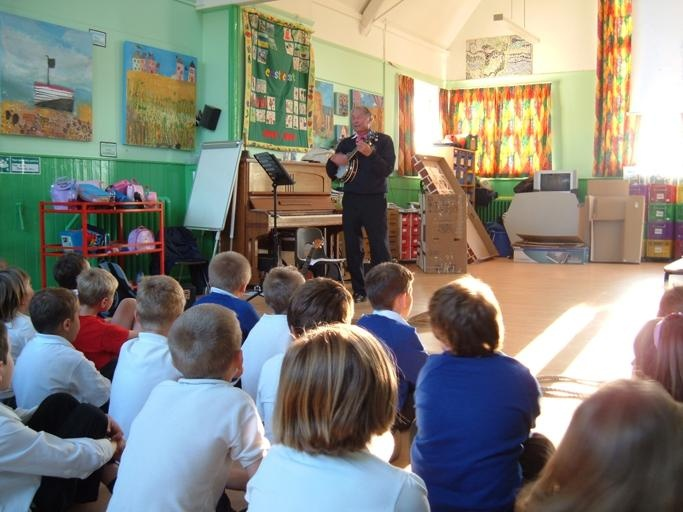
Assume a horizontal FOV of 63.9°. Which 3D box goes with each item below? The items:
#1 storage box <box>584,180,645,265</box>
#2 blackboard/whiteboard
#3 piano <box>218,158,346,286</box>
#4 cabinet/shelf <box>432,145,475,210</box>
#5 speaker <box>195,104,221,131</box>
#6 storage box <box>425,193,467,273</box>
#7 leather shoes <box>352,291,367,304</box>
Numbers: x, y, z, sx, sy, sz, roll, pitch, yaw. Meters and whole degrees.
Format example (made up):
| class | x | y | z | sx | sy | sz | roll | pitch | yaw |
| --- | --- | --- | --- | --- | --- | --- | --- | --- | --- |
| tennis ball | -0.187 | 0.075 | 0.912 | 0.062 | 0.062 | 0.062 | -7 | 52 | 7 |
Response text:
| class | x | y | z | sx | sy | sz | roll | pitch | yaw |
| --- | --- | --- | --- | --- | --- | --- | --- | --- | --- |
| storage box | 4.900 | -0.600 | 10.119 | 1.149 | 1.916 | 1.298 | 0 | 0 | 24 |
| blackboard/whiteboard | -1.494 | -0.816 | 6.456 | 0.853 | 1.345 | 0.178 | 7 | -11 | 33 |
| piano | -0.621 | -0.476 | 6.956 | 0.777 | 1.442 | 1.410 | 4 | 7 | 43 |
| cabinet/shelf | 2.321 | -1.436 | 10.703 | 0.368 | 1.187 | 1.144 | -11 | -2 | 28 |
| speaker | -1.675 | -1.756 | 6.869 | 0.131 | 0.196 | 0.246 | 19 | -26 | -22 |
| storage box | 1.592 | -0.361 | 8.455 | 0.642 | 1.213 | 0.262 | 2 | 3 | -4 |
| leather shoes | 0.180 | 0.425 | 5.762 | 0.068 | 0.077 | 0.167 | 0 | -6 | 26 |
